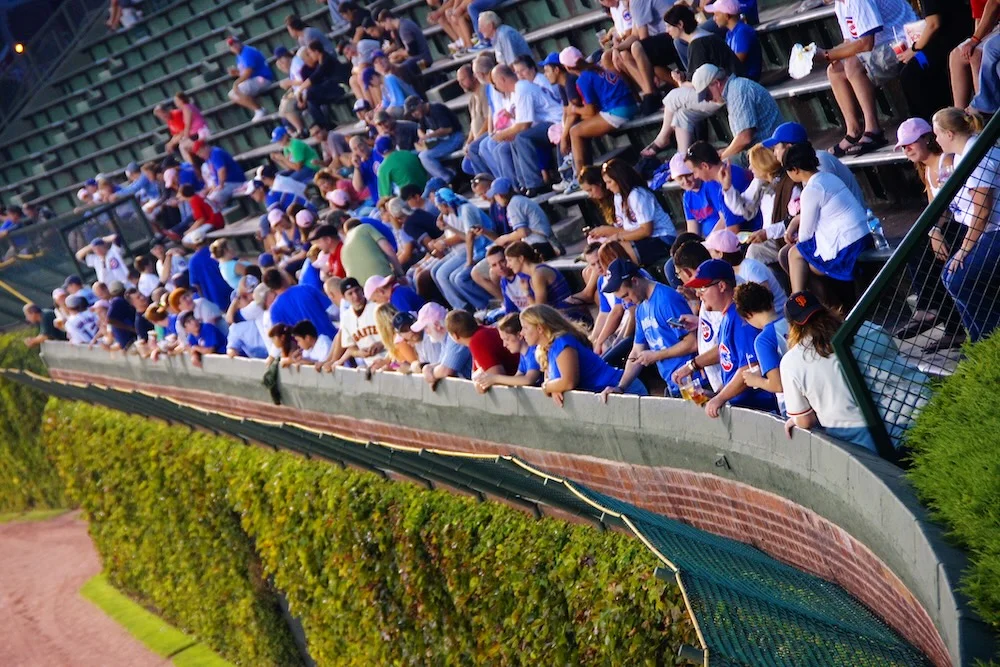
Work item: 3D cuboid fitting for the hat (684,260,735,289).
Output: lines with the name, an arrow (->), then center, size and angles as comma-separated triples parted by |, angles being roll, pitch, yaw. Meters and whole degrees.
hat -> 2.807, -0.781, 24.574 | 0.464, 0.305, 0.355 | 3, 5, 5

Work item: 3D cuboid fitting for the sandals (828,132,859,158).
sandals -> 4.850, -2.643, 26.315 | 0.493, 0.219, 0.194 | -31, 20, 32

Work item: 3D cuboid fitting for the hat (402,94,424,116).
hat -> -1.437, -3.756, 31.089 | 0.320, 0.208, 0.259 | -14, 19, 47

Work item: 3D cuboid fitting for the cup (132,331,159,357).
cup -> -6.398, 0.231, 33.779 | 0.463, 0.520, 0.205 | 2, 19, -42

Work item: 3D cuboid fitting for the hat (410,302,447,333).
hat -> -1.031, -0.237, 26.946 | 0.451, 0.269, 0.317 | -27, 21, -6

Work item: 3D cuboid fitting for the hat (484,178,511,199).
hat -> -0.003, -2.165, 28.211 | 0.448, 0.312, 0.327 | 11, 7, 21

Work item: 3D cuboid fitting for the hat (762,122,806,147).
hat -> 3.843, -2.642, 25.097 | 0.440, 0.262, 0.302 | -1, 17, 32

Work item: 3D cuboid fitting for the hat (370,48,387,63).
hat -> -2.055, -4.704, 31.991 | 0.290, 0.203, 0.452 | 8, 7, -5

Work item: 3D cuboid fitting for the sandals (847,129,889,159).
sandals -> 5.116, -2.655, 26.221 | 0.620, 0.271, 0.234 | -29, 23, 10

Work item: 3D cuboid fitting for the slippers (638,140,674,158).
slippers -> 2.278, -2.714, 27.805 | 0.491, 0.218, 0.215 | 15, 9, 41

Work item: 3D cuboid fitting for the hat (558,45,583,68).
hat -> 1.046, -4.146, 28.144 | 0.242, 0.193, 0.366 | -29, 27, 10

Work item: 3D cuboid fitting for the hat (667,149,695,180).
hat -> 2.560, -2.360, 26.341 | 0.247, 0.284, 0.375 | -11, 48, 45

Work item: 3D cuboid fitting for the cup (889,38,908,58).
cup -> 5.490, -3.903, 25.778 | 0.186, 0.223, 0.240 | -3, 9, 13

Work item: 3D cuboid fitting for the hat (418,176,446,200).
hat -> -1.046, -2.350, 30.061 | 0.385, 0.222, 0.256 | -24, 11, -30

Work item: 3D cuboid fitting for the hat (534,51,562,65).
hat -> 0.711, -4.052, 28.229 | 0.375, 0.218, 0.255 | -8, 15, 3

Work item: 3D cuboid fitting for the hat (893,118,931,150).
hat -> 5.462, -2.644, 24.845 | 0.403, 0.250, 0.303 | -19, 3, -13

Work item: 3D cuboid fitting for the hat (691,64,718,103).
hat -> 2.932, -3.559, 26.721 | 0.383, 0.527, 0.303 | 9, 6, 9

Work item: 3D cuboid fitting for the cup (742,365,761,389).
cup -> 3.234, 0.573, 24.277 | 0.190, 0.260, 0.278 | -18, 39, -7

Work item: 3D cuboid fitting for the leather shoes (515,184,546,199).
leather shoes -> 0.480, -2.215, 29.194 | 0.477, 0.242, 0.181 | 2, 23, 6

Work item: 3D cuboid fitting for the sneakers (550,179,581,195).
sneakers -> 0.993, -2.243, 28.789 | 0.149, 0.206, 0.452 | -7, 9, -32
